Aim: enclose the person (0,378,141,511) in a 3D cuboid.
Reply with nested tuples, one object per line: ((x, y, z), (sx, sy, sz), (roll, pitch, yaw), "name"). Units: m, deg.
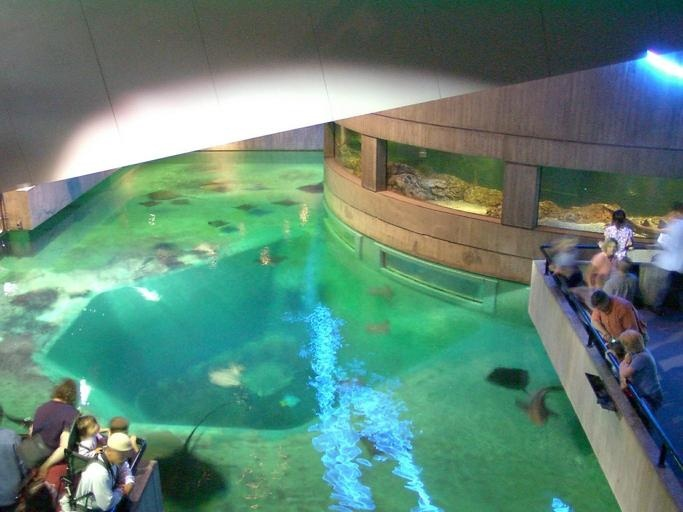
((-3.157, 2.172, 5.135), (1.925, 1.000, 0.637), (4, -15, 26), "person")

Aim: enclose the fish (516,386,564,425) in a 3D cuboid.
((3.369, 2.507, 7.602), (0.455, 0.195, 0.637), (1, 43, 13), "fish")

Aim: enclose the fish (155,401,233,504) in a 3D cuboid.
((-2.196, 3.178, 6.500), (0.823, 0.352, 1.091), (-3, 3, -27), "fish")

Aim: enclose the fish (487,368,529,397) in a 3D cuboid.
((3.076, 2.233, 8.211), (0.720, 0.249, 0.590), (-1, 3, 20), "fish")
